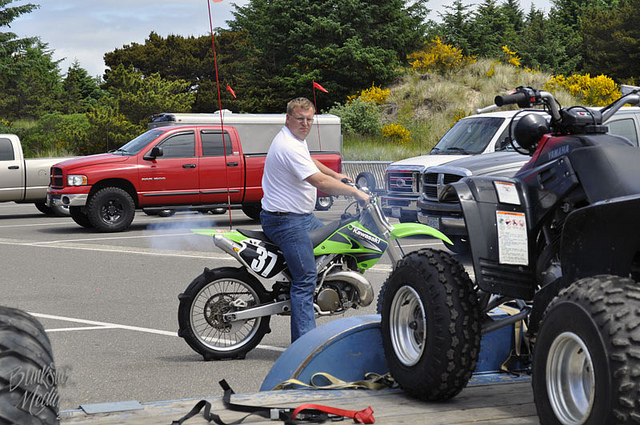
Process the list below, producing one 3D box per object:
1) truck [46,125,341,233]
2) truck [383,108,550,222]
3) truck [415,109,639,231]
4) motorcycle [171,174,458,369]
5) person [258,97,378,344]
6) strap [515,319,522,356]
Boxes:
[{"bbox_3d":[-3.322,-0.949,15.926,7.457,2.587,3.116,0,2,-21],"label":"truck"},{"bbox_3d":[4.043,-1.030,13.503,5.230,2.694,2.653,-6,7,-21],"label":"truck"},{"bbox_3d":[3.970,-0.789,11.016,4.151,1.923,2.441,-5,5,-22],"label":"truck"},{"bbox_3d":[0.018,0.562,6.207,3.065,1.794,1.185,-2,1,-17],"label":"motorcycle"},{"bbox_3d":[-0.144,0.031,5.662,0.877,2.309,0.878,3,3,-6],"label":"person"},{"bbox_3d":[1.506,0.959,4.477,0.048,0.178,0.156,4,3,19],"label":"strap"}]
